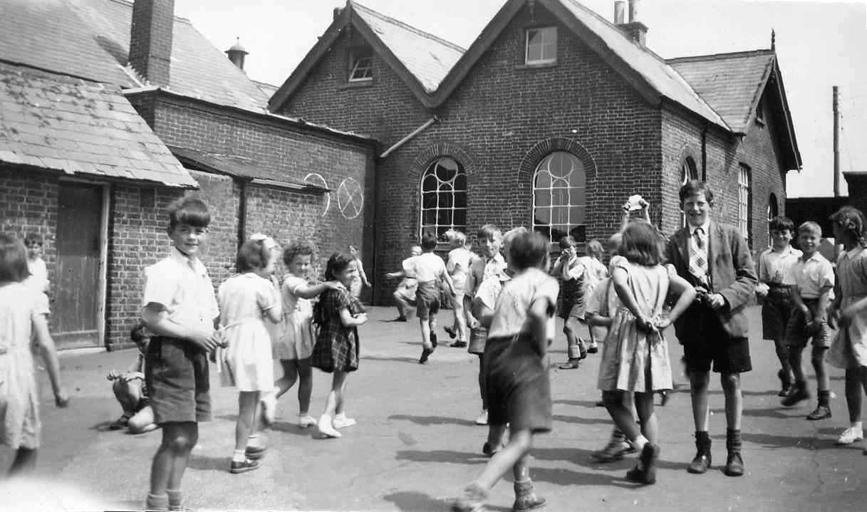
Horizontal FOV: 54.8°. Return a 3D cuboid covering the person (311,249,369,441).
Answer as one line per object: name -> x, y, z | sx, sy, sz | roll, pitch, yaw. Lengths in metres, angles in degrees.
person -> -1.298, 1.188, 11.421 | 0.706, 2.466, 0.547 | 0, 0, -8

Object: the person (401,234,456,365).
person -> -0.133, 0.843, 17.259 | 1.124, 2.462, 0.927 | 0, 3, -22

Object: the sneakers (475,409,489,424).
sneakers -> 0.682, 2.269, 11.786 | 0.124, 0.140, 0.331 | -2, -11, 11

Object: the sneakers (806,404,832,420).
sneakers -> 5.511, 2.254, 12.029 | 0.459, 0.172, 0.155 | 4, -13, -19

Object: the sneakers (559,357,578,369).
sneakers -> 2.430, 1.923, 15.042 | 0.342, 0.235, 0.154 | 1, -3, 8

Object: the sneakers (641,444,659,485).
sneakers -> 2.556, 2.443, 9.985 | 0.181, 0.508, 0.221 | -5, 7, -26

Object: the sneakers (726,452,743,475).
sneakers -> 3.667, 2.514, 10.175 | 0.262, 0.261, 0.182 | 0, 0, -1

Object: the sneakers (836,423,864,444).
sneakers -> 5.475, 2.342, 10.999 | 0.521, 0.214, 0.179 | 4, -12, -30

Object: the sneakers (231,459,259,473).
sneakers -> -2.323, 2.571, 10.311 | 0.349, 0.150, 0.133 | -5, 5, -34

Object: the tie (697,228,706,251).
tie -> 3.321, -0.221, 10.371 | 0.122, 0.200, 0.053 | 4, -3, 24

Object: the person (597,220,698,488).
person -> 2.531, 1.134, 10.166 | 1.024, 3.136, 0.556 | 0, 0, 11

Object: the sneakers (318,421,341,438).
sneakers -> -1.397, 2.310, 11.245 | 0.306, 0.236, 0.170 | 0, 0, -7

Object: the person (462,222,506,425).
person -> 0.799, 0.959, 11.874 | 0.862, 2.773, 0.831 | 0, -7, 14

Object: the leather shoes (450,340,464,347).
leather shoes -> 0.473, 1.772, 17.083 | 0.325, 0.135, 0.119 | 3, 2, 25

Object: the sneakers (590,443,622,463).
sneakers -> 2.227, 2.499, 10.688 | 0.398, 0.180, 0.180 | 1, -5, -20

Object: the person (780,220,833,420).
person -> 5.569, 0.899, 12.487 | 0.700, 2.837, 1.213 | 0, 0, 25

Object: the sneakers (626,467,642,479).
sneakers -> 2.399, 2.594, 10.048 | 0.164, 0.160, 0.113 | -5, -8, 30
